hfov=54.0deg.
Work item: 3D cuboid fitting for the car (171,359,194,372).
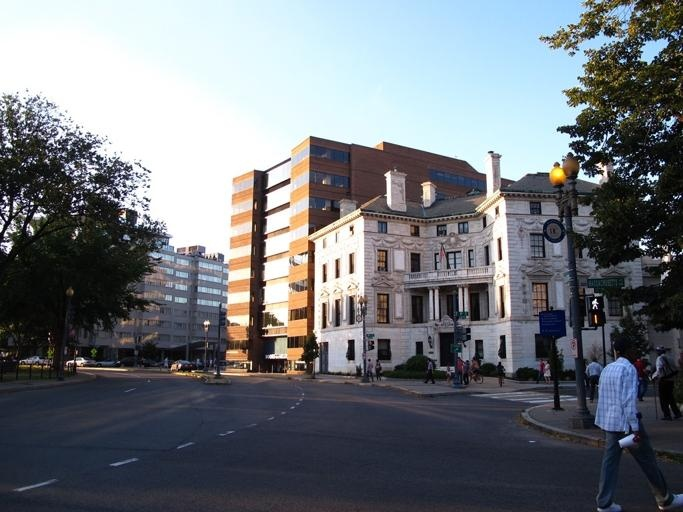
[{"bbox_3d":[-17.427,12.111,73.123,1.438,1.067,3.395,10,-12,-40],"label":"car"}]

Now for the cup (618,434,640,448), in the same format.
[{"bbox_3d":[5.194,3.352,12.095,0.333,0.197,0.207,-10,4,-20],"label":"cup"}]
